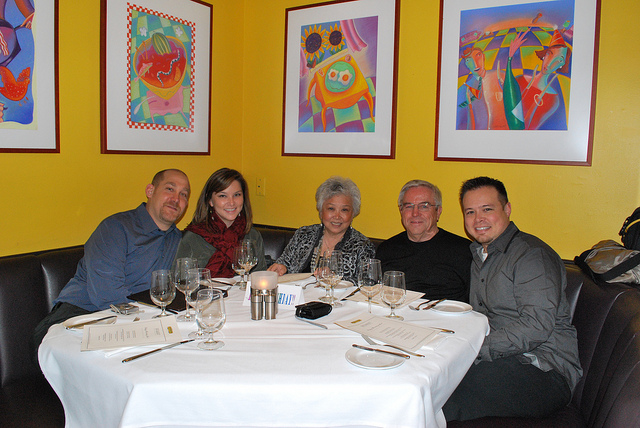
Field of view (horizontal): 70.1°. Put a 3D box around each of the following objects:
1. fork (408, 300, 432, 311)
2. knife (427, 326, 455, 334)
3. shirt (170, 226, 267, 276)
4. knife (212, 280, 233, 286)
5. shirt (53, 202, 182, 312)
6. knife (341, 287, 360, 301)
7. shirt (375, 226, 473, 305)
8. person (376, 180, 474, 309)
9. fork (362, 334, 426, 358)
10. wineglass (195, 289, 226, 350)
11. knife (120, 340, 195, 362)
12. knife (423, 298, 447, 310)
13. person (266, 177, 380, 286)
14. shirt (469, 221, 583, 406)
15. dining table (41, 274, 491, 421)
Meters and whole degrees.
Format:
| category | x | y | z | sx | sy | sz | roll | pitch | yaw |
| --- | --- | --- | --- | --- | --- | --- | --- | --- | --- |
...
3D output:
| category | x | y | z | sx | sy | sz | roll | pitch | yaw |
| --- | --- | --- | --- | --- | --- | --- | --- | --- | --- |
| fork | 0.601 | 0.541 | 2.699 | 0.030 | 0.031 | 0.210 | 5 | 1 | 38 |
| knife | 0.646 | 0.603 | 2.392 | 0.033 | 0.017 | 0.155 | -2 | 2 | -27 |
| shirt | -0.828 | 0.268 | 3.489 | 0.434 | 0.171 | 0.442 | 7 | 2 | 26 |
| knife | -0.644 | 0.450 | 2.989 | 0.151 | 0.018 | 0.017 | 7 | 56 | 37 |
| shirt | -1.275 | 0.386 | 3.260 | 0.601 | 0.949 | 0.746 | 4 | -8 | 44 |
| knife | 0.179 | 0.495 | 2.788 | 0.027 | 0.025 | 0.222 | 10 | 15 | 22 |
| shirt | 0.804 | 0.381 | 3.461 | 0.765 | 0.576 | 0.431 | 4 | 16 | 29 |
| person | 0.785 | 0.227 | 3.248 | 0.896 | 0.945 | 0.533 | -1 | -5 | 40 |
| fork | 0.358 | 0.646 | 2.222 | 0.239 | 0.034 | 0.027 | 8 | 43 | 34 |
| wineglass | -0.529 | 0.518 | 2.223 | 0.147 | 0.247 | 0.152 | 5 | 6 | 35 |
| knife | -0.777 | 0.648 | 2.147 | 0.311 | 0.035 | 0.017 | -8 | -25 | -34 |
| knife | 0.691 | 0.529 | 2.727 | 0.050 | 0.027 | 0.380 | 10 | 8 | 29 |
| person | 0.014 | 0.292 | 3.529 | 0.794 | 1.115 | 0.652 | 10 | 9 | 15 |
| shirt | 1.297 | 0.604 | 2.850 | 0.655 | 1.039 | 0.617 | 2 | 10 | 12 |
| dining table | -0.264 | 0.673 | 2.304 | 2.211 | 0.624 | 0.838 | -1 | 10 | -4 |
